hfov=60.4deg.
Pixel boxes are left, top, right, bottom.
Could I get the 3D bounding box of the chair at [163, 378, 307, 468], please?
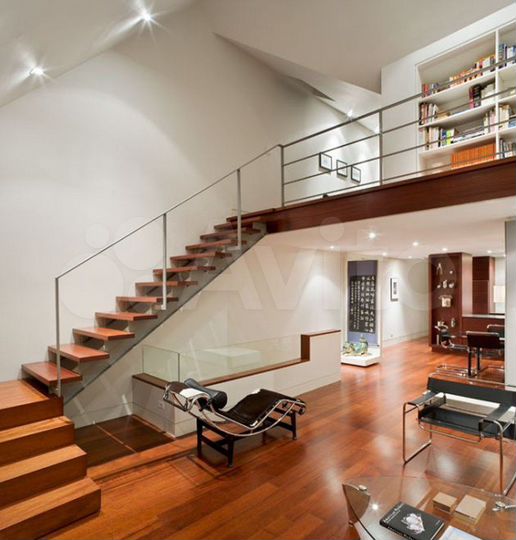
[{"bbox_3d":[-0.153,1.297,4.218,1.515,0.649,0.632,-1,0,-44],"label":"chair"}]
